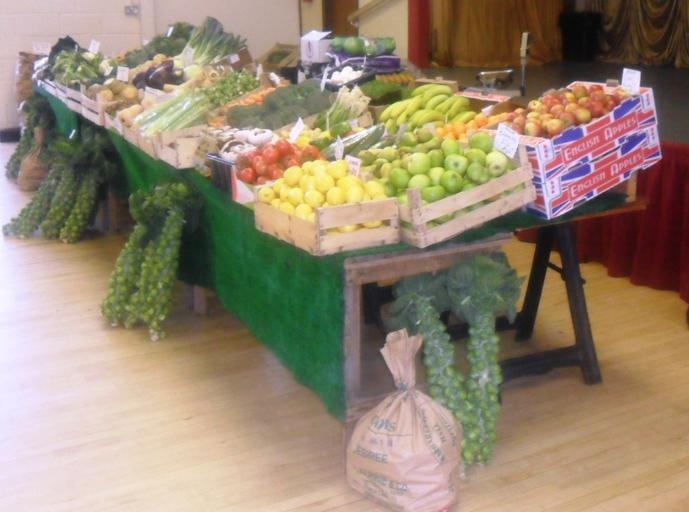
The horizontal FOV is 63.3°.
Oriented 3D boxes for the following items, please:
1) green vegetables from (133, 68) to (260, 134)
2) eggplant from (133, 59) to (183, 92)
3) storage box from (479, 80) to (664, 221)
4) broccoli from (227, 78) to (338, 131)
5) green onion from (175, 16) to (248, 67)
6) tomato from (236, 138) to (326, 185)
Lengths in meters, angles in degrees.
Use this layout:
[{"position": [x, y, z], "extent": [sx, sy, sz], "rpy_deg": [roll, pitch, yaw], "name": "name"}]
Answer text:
[{"position": [-1.049, -1.119, 4.002], "extent": [0.791, 0.226, 0.551], "rpy_deg": [-42, 28, -24], "name": "green vegetables"}, {"position": [-1.661, -1.601, 4.960], "extent": [0.389, 0.148, 0.355], "rpy_deg": [-25, 39, -16], "name": "eggplant"}, {"position": [1.122, -0.551, 2.750], "extent": [0.877, 0.421, 0.616], "rpy_deg": [-34, 29, -11], "name": "storage box"}, {"position": [-0.400, -0.996, 3.686], "extent": [0.763, 0.158, 0.406], "rpy_deg": [-27, 34, -33], "name": "broccoli"}, {"position": [-1.253, -2.021, 5.323], "extent": [0.595, 0.582, 0.512], "rpy_deg": [7, 31, 23], "name": "green onion"}, {"position": [-0.323, -0.515, 2.849], "extent": [0.332, 0.256, 0.370], "rpy_deg": [-16, 24, -38], "name": "tomato"}]
